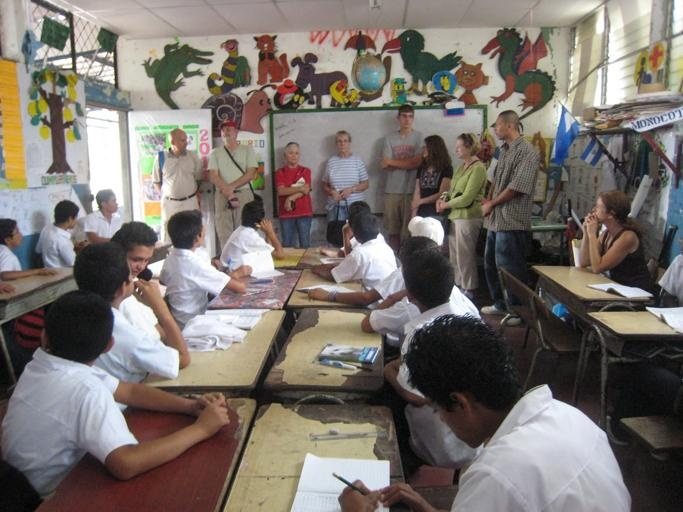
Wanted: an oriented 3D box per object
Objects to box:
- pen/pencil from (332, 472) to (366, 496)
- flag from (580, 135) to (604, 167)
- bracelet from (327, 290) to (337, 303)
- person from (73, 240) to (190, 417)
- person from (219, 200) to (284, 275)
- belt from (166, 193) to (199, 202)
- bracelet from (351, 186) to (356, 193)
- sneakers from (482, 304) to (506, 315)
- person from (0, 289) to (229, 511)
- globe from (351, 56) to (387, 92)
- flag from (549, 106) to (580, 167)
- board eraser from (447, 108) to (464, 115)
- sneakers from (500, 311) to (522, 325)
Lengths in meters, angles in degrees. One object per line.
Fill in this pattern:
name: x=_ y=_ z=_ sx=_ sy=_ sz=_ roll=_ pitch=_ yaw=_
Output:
pen/pencil: x=0.023 y=0.731 z=1.625 sx=0.016 sy=0.016 sz=0.142 roll=-13 pitch=22 yaw=-38
flag: x=2.452 y=-1.029 z=4.962 sx=0.029 sy=0.395 sz=0.346 roll=-14 pitch=19 yaw=-13
bracelet: x=-0.057 y=0.245 z=3.073 sx=0.039 sy=0.054 sz=0.051 roll=5 pitch=6 yaw=18
person: x=-0.863 y=0.299 z=2.097 sx=0.366 sy=0.896 sz=0.295 roll=21 pitch=35 yaw=28
person: x=-0.805 y=-0.168 z=4.412 sx=0.495 sy=0.866 sz=0.427 roll=-20 pitch=38 yaw=-41
belt: x=-1.865 y=-0.692 z=5.970 sx=0.332 sy=0.089 sz=0.099 roll=-4 pitch=12 yaw=-10
bracelet: x=0.139 y=-0.753 z=5.791 sx=0.013 sy=0.044 sz=0.043 roll=5 pitch=20 yaw=-26
sneakers: x=1.429 y=0.499 z=4.765 sx=0.216 sy=0.094 sz=0.087 roll=3 pitch=8 yaw=17
person: x=-0.867 y=0.345 z=2.113 sx=0.848 sy=1.193 sz=0.540 roll=-8 pitch=24 yaw=-34
globe: x=0.329 y=-2.111 z=5.979 sx=0.376 sy=0.437 sz=0.382 roll=-1 pitch=10 yaw=25
flag: x=2.449 y=-1.312 z=5.541 sx=0.277 sy=0.655 sz=0.758 roll=3 pitch=13 yaw=22
board eraser: x=1.329 y=-1.684 z=5.932 sx=0.212 sy=0.084 sz=0.019 roll=-3 pitch=13 yaw=-4
sneakers: x=1.357 y=0.496 z=4.059 sx=0.189 sy=0.127 sz=0.327 roll=-4 pitch=-6 yaw=8
